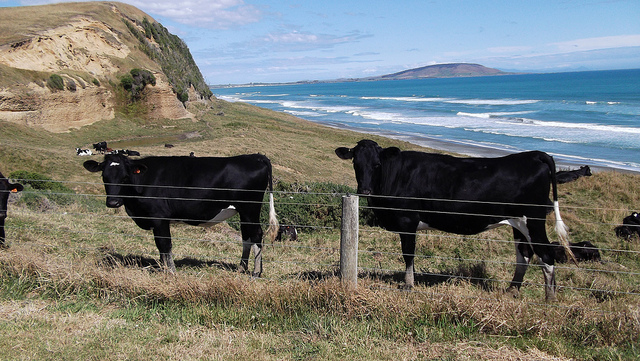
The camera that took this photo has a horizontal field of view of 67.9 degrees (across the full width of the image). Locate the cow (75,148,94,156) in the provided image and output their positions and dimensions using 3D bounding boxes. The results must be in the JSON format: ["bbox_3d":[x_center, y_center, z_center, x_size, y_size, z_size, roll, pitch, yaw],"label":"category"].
[{"bbox_3d":[-15.149,-1.861,30.924,0.451,0.526,1.299,4,2,42],"label":"cow"}]
